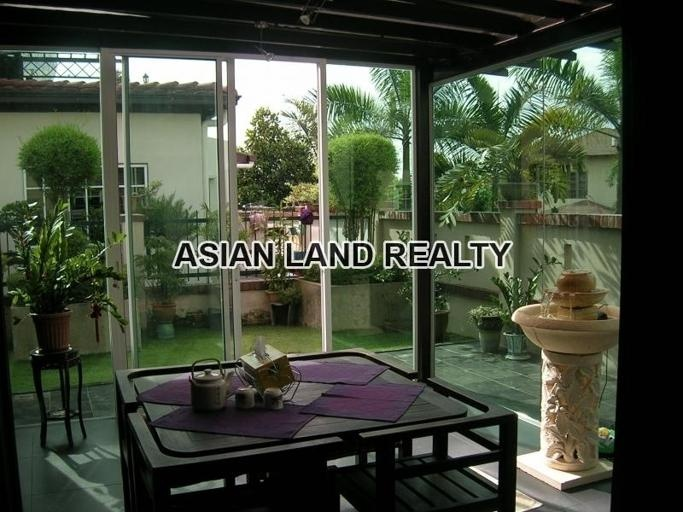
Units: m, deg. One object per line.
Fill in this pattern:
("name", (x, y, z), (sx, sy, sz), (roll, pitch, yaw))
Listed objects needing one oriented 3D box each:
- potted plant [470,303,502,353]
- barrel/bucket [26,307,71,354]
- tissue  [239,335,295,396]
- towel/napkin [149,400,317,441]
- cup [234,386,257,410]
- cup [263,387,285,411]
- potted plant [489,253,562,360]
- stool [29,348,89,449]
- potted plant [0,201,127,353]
("potted plant", (1.254, 0.629, 4.732), (0.337, 0.377, 0.334), (-1, -3, -3))
("barrel/bucket", (-2.162, 0.543, 4.171), (0.304, 0.306, 0.310), (0, 0, 0))
("tissue ", (-0.400, 0.524, 2.913), (0.218, 0.302, 0.301), (-18, 16, -25))
("towel/napkin", (-0.486, 0.748, 2.588), (0.704, 0.023, 0.379), (2, 6, 14))
("cup", (-0.470, 0.684, 2.696), (0.092, 0.082, 0.091), (0, -2, 0))
("cup", (-0.324, 0.684, 2.674), (0.092, 0.079, 0.087), (-1, 4, 0))
("potted plant", (1.627, 0.385, 4.470), (0.753, 0.859, 0.486), (0, 5, 7))
("stool", (-2.285, 1.058, 4.515), (0.352, 0.772, 0.764), (-3, 6, -26))
("potted plant", (-2.224, 0.180, 4.456), (0.780, 1.237, 0.905), (-4, 7, -31))
